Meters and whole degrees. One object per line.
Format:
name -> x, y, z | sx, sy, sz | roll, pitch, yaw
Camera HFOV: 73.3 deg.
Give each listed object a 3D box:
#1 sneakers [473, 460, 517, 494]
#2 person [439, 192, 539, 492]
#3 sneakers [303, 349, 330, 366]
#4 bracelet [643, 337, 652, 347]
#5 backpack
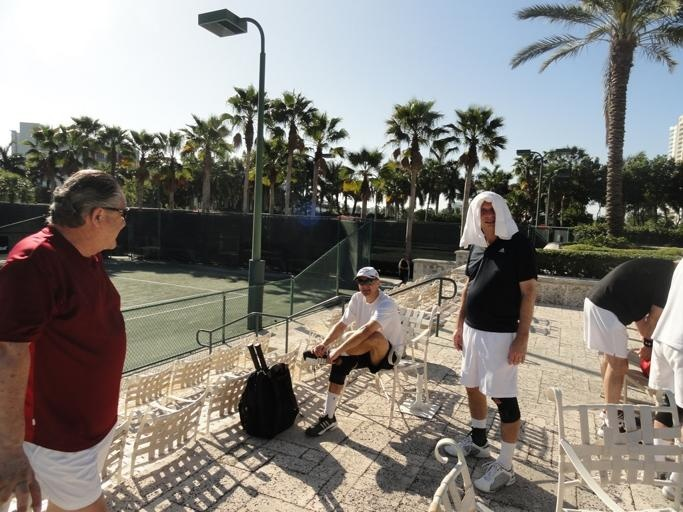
sneakers -> 1.285, 1.810, 3.781 | 0.404, 0.216, 0.117 | -1, 6, -24
person -> 1.247, 0.678, 3.883 | 0.639, 2.435, 0.571 | 6, 8, 38
sneakers -> -0.282, 1.100, 4.909 | 0.243, 0.150, 0.168 | 0, -3, 23
bracelet -> 3.054, 0.863, 4.592 | 0.083, 0.064, 0.123 | 1, -4, 4
backpack -> -0.715, 1.435, 4.441 | 0.348, 0.709, 0.665 | -2, -1, 39
